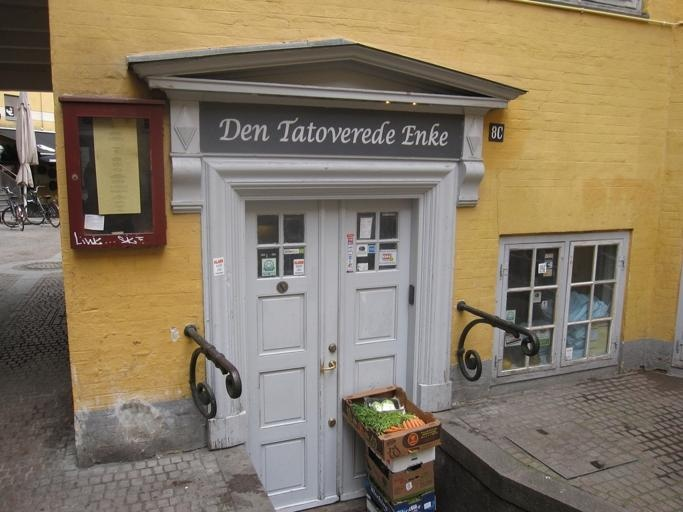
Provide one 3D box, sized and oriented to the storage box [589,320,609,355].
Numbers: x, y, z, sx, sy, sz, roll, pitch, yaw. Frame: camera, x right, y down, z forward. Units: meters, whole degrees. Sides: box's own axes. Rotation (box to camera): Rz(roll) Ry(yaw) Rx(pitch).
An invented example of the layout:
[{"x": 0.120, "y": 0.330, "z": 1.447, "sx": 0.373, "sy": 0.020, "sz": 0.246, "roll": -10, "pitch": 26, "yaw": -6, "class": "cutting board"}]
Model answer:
[{"x": 3.509, "y": 1.106, "z": 8.021, "sx": 0.363, "sy": 0.434, "sz": 0.137, "roll": -3, "pitch": 7, "yaw": -12, "class": "storage box"}]
